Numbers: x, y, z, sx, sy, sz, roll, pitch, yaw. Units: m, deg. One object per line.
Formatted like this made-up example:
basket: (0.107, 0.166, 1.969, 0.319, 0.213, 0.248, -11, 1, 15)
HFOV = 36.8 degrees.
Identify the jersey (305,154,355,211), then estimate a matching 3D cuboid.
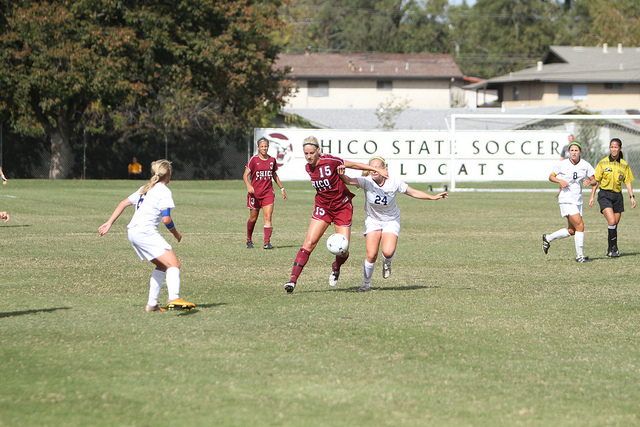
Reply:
jersey: (0.213, -0.655, 19.765, 1.012, 1.159, 0.728, -9, 14, 35)

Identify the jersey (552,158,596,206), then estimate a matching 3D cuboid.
jersey: (6.032, -0.721, 22.852, 1.141, 1.170, 0.453, 0, 10, -4)

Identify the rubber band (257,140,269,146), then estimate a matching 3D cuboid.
rubber band: (-1.437, -1.801, 24.122, 0.220, 0.111, 0.141, 0, 3, -3)

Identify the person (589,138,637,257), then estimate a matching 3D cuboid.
person: (7.105, -0.413, 23.135, 0.967, 2.792, 1.285, 1, 3, 17)

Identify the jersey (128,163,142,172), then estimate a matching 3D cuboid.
jersey: (-9.247, -2.311, 47.869, 0.755, 0.488, 0.342, -1, 1, -6)

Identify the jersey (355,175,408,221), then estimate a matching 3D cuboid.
jersey: (1.252, -0.296, 19.657, 1.123, 1.021, 0.528, -2, 31, -3)

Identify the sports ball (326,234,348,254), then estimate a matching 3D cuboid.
sports ball: (0.362, 0.596, 19.394, 0.388, 0.364, 0.394, 5, 8, -1)

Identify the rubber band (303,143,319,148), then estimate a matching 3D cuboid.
rubber band: (-0.147, -1.375, 19.265, 0.308, 0.086, 0.133, -2, 4, -37)

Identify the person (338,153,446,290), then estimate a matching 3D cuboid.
person: (1.233, 0.192, 19.583, 1.552, 2.677, 0.593, -1, 4, -27)
